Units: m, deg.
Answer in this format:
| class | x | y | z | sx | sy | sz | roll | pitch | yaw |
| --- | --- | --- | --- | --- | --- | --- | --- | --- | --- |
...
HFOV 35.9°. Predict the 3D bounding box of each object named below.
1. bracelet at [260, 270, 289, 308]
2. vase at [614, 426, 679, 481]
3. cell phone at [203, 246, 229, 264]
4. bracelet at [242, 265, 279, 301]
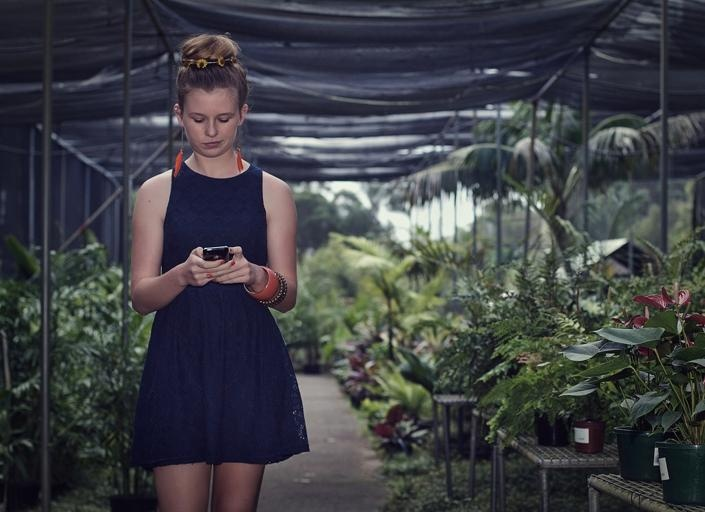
| class | x | y | z | sx | sy | sz | roll | pitch | yaw |
| --- | --- | --- | --- | --- | --- | --- | --- | --- | --- |
| bracelet | -0.364 | 0.154 | 5.130 | 0.052 | 0.147 | 0.123 | 18 | 20 | 10 |
| vase | 1.542 | 1.030 | 5.625 | 0.224 | 0.203 | 0.246 | 3 | -8 | -22 |
| cell phone | -0.622 | -0.012 | 4.956 | 0.112 | 0.068 | 0.079 | 1 | 12 | -9 |
| bracelet | -0.422 | 0.138 | 5.093 | 0.131 | 0.165 | 0.112 | -15 | -28 | 24 |
